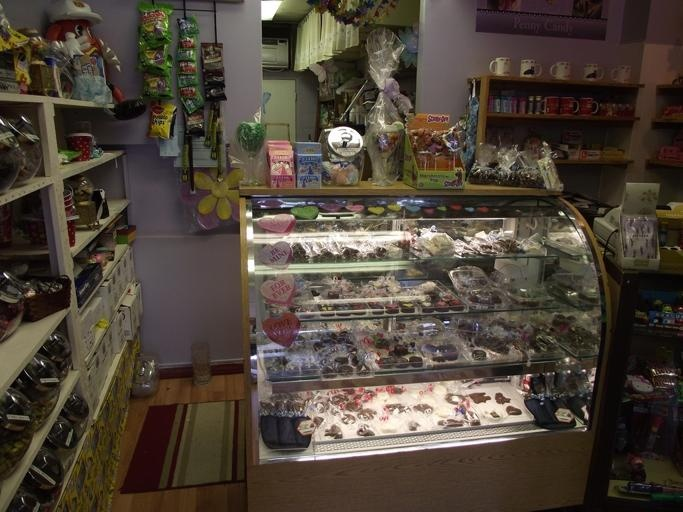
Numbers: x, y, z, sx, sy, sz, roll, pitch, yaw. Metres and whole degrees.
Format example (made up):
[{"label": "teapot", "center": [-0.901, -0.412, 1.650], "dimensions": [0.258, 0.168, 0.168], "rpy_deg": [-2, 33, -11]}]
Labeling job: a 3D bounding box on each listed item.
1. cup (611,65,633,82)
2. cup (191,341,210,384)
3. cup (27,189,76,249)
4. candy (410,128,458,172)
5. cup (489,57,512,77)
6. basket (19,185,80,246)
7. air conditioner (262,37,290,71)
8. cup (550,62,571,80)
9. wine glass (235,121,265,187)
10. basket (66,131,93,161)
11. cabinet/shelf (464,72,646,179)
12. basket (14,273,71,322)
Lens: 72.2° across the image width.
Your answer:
[{"label": "cup", "center": [2.094, -1.367, 3.503], "dimensions": [0.116, 0.115, 0.110], "rpy_deg": [-2, 14, 1]}, {"label": "cup", "center": [-1.067, 0.792, 3.523], "dimensions": [0.145, 0.292, 0.160], "rpy_deg": [-7, 14, -18]}, {"label": "cup", "center": [-1.444, -0.176, 2.265], "dimensions": [0.264, 0.287, 0.282], "rpy_deg": [1, 2, 0]}, {"label": "candy", "center": [0.483, -0.551, 2.414], "dimensions": [0.274, 0.211, 0.134], "rpy_deg": [-1, 14, 5]}, {"label": "cup", "center": [1.151, -1.370, 3.372], "dimensions": [0.155, 0.149, 0.296], "rpy_deg": [2, 15, 18]}, {"label": "basket", "center": [-1.440, -0.196, 2.301], "dimensions": [0.314, 0.256, 0.304], "rpy_deg": [2, 7, 21]}, {"label": "air conditioner", "center": [-0.816, -2.531, 5.815], "dimensions": [0.341, 0.404, 0.271], "rpy_deg": [-4, 14, -7]}, {"label": "cup", "center": [1.600, -1.361, 3.412], "dimensions": [0.129, 0.153, 0.270], "rpy_deg": [3, 15, 22]}, {"label": "wine glass", "center": [-0.466, -0.543, 2.450], "dimensions": [0.137, 0.316, 0.209], "rpy_deg": [-5, 14, -11]}, {"label": "basket", "center": [-1.428, -0.603, 2.572], "dimensions": [0.152, 0.135, 0.144], "rpy_deg": [1, 6, 17]}, {"label": "cabinet/shelf", "center": [1.623, -0.982, 3.559], "dimensions": [1.387, 0.742, 0.380], "rpy_deg": [-5, 14, -11]}, {"label": "basket", "center": [-1.227, 0.163, 1.942], "dimensions": [0.146, 0.146, 0.247], "rpy_deg": [-7, 14, -16]}]
